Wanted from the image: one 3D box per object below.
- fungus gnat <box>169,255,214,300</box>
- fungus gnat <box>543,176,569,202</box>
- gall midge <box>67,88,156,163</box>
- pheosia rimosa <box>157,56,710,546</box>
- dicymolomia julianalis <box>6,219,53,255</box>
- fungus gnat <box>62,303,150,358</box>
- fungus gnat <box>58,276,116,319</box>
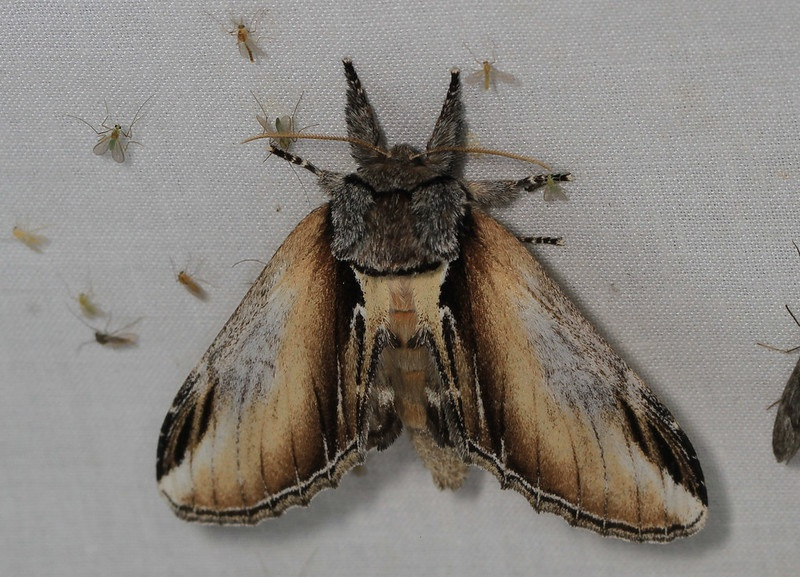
[{"bbox_3d":[-0.828,-0.038,4.309,0.141,0.162,0.048,-41,-5,5],"label":"fungus gnat"},{"bbox_3d":[0.600,-0.381,4.217,0.067,0.102,0.032,-9,12,-2],"label":"fungus gnat"},{"bbox_3d":[-1.133,-0.617,4.257,0.235,0.272,0.068,14,-3,4],"label":"gall midge"},{"bbox_3d":[0.146,0.037,4.155,1.840,1.862,0.525,7,3,6],"label":"pheosia rimosa"},{"bbox_3d":[-1.481,-0.212,4.335,0.137,0.106,0.057,37,9,-7],"label":"dicymolomia julianalis"},{"bbox_3d":[-1.160,0.171,4.247,0.218,0.212,0.093,13,-2,5],"label":"fungus gnat"},{"bbox_3d":[-1.264,0.035,4.335,0.145,0.209,0.057,-27,-4,8],"label":"fungus gnat"}]
